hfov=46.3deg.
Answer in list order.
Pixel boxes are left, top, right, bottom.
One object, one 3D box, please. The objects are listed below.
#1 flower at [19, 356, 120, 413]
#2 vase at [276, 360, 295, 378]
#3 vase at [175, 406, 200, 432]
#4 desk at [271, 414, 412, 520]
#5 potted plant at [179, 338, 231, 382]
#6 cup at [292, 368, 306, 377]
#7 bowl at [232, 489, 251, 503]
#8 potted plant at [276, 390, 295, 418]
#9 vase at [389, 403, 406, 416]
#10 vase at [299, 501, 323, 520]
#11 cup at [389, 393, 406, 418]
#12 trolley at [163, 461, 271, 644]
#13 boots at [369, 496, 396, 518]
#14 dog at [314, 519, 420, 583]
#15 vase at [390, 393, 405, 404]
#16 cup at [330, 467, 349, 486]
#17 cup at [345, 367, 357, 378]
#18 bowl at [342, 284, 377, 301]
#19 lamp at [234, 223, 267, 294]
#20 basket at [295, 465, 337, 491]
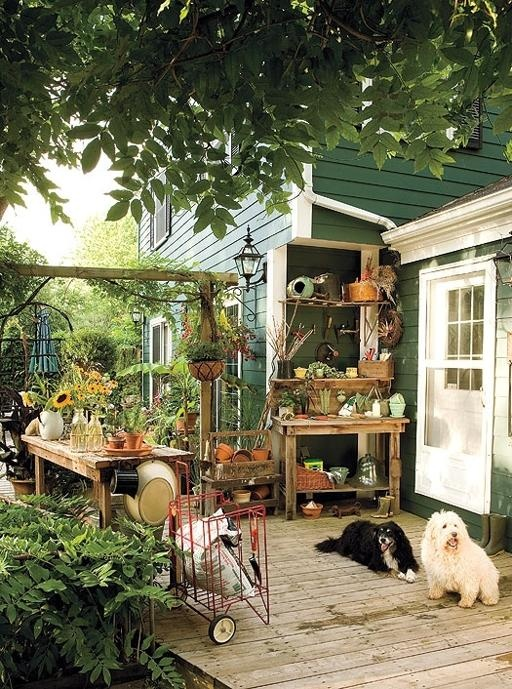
[{"bbox_3d":[-1.486,0.356,4.670,0.956,0.453,0.633,-2,-5,28],"label":"flower"},{"bbox_3d":[0.275,0.232,5.679,0.144,0.145,0.172,-1,-5,2],"label":"vase"},{"bbox_3d":[-0.840,0.902,7.277,0.310,0.207,0.301,-2,-2,23],"label":"vase"},{"bbox_3d":[0.746,1.136,5.716,1.322,0.823,0.655,0,-8,-17],"label":"desk"},{"bbox_3d":[-0.442,0.142,5.221,0.397,0.360,0.360,-1,-6,-2],"label":"potted plant"},{"bbox_3d":[0.417,0.273,5.761,0.092,0.071,0.091,-1,-3,0],"label":"cup"},{"bbox_3d":[-0.134,1.370,5.456,0.151,0.094,0.142,0,-4,0],"label":"bowl"},{"bbox_3d":[0.287,0.571,5.621,0.233,0.266,0.201,-1,-6,18],"label":"potted plant"},{"bbox_3d":[1.346,0.618,5.694,0.133,0.090,0.124,1,-7,-12],"label":"vase"},{"bbox_3d":[0.500,1.504,5.482,0.177,0.148,0.227,0,-2,5],"label":"vase"},{"bbox_3d":[1.269,0.578,5.655,0.200,0.198,0.205,0,-6,0],"label":"cup"},{"bbox_3d":[-0.213,1.096,3.249,0.434,0.733,0.555,-7,4,-23],"label":"trolley"},{"bbox_3d":[1.155,1.484,5.490,0.214,0.176,0.199,0,-2,10],"label":"boots"},{"bbox_3d":[0.820,1.382,4.259,0.305,0.354,0.826,2,-3,-36],"label":"dog"},{"bbox_3d":[1.342,0.507,5.707,0.107,0.099,0.121,-1,5,-17],"label":"vase"},{"bbox_3d":[0.798,1.279,5.813,0.174,0.111,0.152,0,-2,23],"label":"cup"},{"bbox_3d":[0.953,0.279,5.974,0.110,0.092,0.103,0,3,0],"label":"cup"},{"bbox_3d":[1.041,-0.499,5.868,0.191,0.191,0.308,0,-1,-19],"label":"bowl"},{"bbox_3d":[-0.124,-0.868,5.944,0.352,0.636,0.242,1,-7,-14],"label":"lamp"},{"bbox_3d":[0.513,1.234,5.562,0.224,0.106,0.266,0,2,-6],"label":"basket"}]
